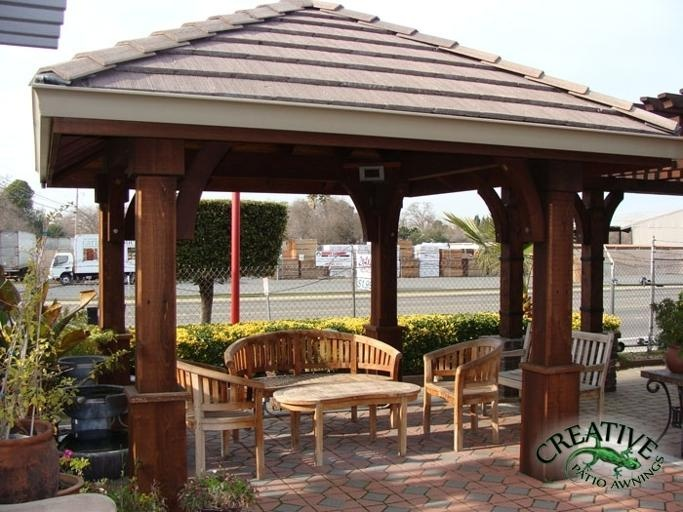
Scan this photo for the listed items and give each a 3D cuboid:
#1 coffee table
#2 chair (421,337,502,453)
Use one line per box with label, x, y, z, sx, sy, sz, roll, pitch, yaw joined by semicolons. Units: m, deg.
coffee table;0.017;1.668;7.763;1.507;0.707;0.862;1;4;-15
chair;1.306;1.395;8.495;0.917;1.397;1.251;1;-3;-27
